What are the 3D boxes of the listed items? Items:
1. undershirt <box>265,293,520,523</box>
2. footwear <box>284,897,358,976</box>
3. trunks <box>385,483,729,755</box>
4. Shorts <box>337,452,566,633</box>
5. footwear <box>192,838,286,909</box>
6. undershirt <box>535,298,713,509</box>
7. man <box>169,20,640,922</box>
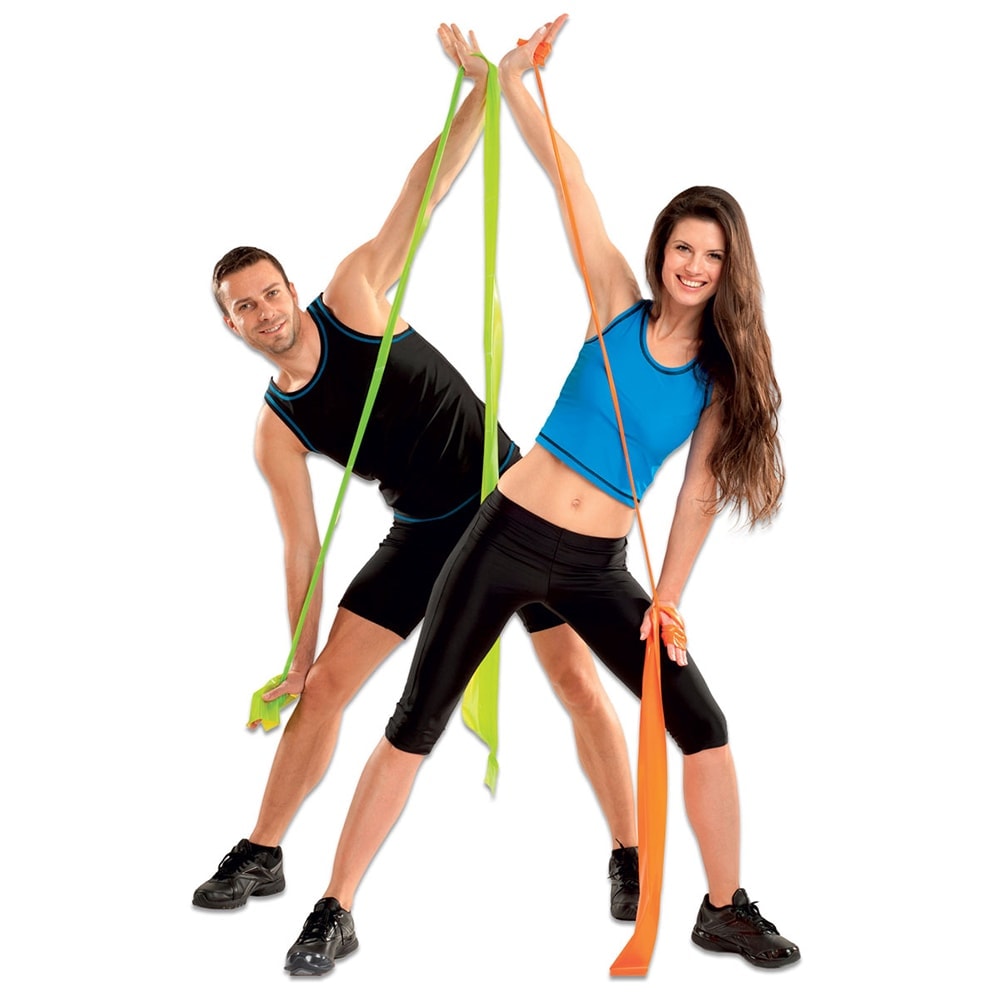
[{"bbox_3d":[-0.284,-0.379,3.904,0.543,0.458,0.822,-19,-62,-3],"label":"undershirt"},{"bbox_3d":[-0.483,1.231,3.285,0.179,0.210,0.160,21,-39,-3],"label":"footwear"},{"bbox_3d":[0.149,0.294,3.275,0.726,0.589,0.276,13,-20,-3],"label":"trunks"},{"bbox_3d":[-0.101,0.134,3.446,0.432,0.398,0.167,28,-12,-3],"label":"Shorts"},{"bbox_3d":[-0.827,1.196,3.769,0.140,0.169,0.393,2,-6,24],"label":"footwear"},{"bbox_3d":[0.375,-0.263,3.302,0.401,0.473,0.329,25,-40,-8],"label":"undershirt"},{"bbox_3d":[-0.293,-0.049,3.749,1.507,2.913,0.937,-4,-1,0],"label":"man"}]
